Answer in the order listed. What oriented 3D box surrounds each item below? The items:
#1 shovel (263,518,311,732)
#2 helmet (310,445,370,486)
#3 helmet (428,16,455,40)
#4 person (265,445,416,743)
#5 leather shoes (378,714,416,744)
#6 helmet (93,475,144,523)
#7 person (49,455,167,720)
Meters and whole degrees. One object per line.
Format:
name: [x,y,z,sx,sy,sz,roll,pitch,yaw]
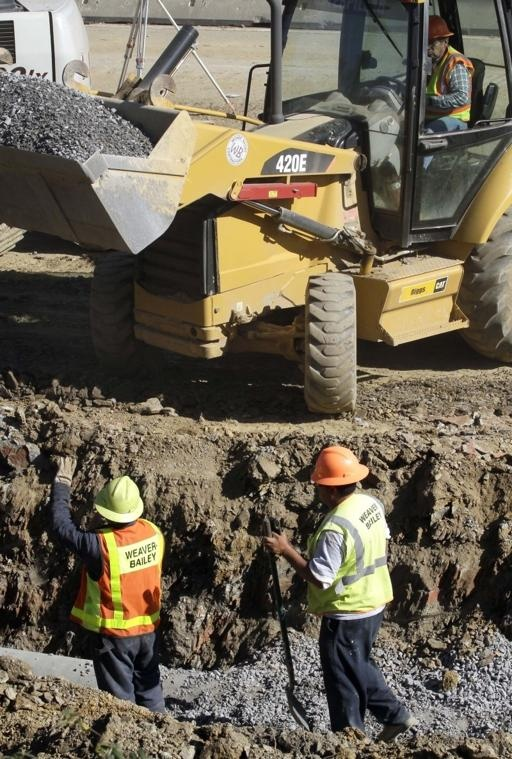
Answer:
shovel: [0.178,1.379,3.289,0.077,0.701,0.121,-9,-2,18]
helmet: [0.364,0.385,2.884,0.232,0.178,0.204,6,-5,6]
helmet: [1.432,-2.714,5.154,0.199,0.140,0.249,-3,24,19]
person: [0.383,0.952,2.914,0.692,1.292,0.354,11,-7,-42]
leather shoes: [0.630,1.559,2.956,0.096,0.068,0.212,25,-49,-30]
helmet: [-0.615,0.544,2.989,0.200,0.209,0.178,8,-5,-12]
person: [-0.674,1.035,3.105,0.659,1.174,0.491,8,-5,-14]
